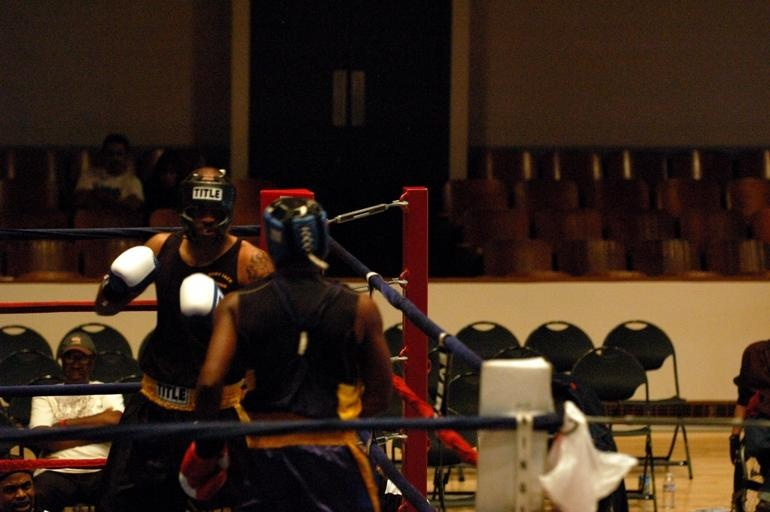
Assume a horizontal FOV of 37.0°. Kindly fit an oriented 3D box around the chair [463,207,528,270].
[{"bbox_3d":[1.121,-0.167,12.057,0.660,0.636,0.637,0,-4,0],"label":"chair"}]

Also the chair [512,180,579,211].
[{"bbox_3d":[1.681,-0.642,12.330,0.605,0.318,0.418,-1,3,1],"label":"chair"}]

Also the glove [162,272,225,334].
[{"bbox_3d":[-1.176,0.299,7.262,0.269,0.354,0.337,-3,-16,7],"label":"glove"}]

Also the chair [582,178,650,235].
[{"bbox_3d":[2.438,-0.504,12.329,0.623,0.603,0.593,2,-2,-1],"label":"chair"}]

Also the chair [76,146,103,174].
[{"bbox_3d":[-2.988,-0.987,11.728,0.260,0.462,0.254,0,3,-5],"label":"chair"}]

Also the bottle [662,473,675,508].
[{"bbox_3d":[2.390,1.999,9.755,0.097,0.208,0.203,1,1,13],"label":"bottle"}]

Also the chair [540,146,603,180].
[{"bbox_3d":[1.958,-0.965,12.141,0.629,0.208,0.132,1,1,-13],"label":"chair"}]

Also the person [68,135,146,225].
[{"bbox_3d":[-2.787,-0.520,11.791,0.703,1.441,0.419,3,-13,-18],"label":"person"}]

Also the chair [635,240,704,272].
[{"bbox_3d":[2.858,0.018,11.810,0.671,0.249,0.196,1,1,13],"label":"chair"}]

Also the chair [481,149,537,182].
[{"bbox_3d":[1.315,-0.956,12.310,0.592,0.316,0.409,2,-6,4],"label":"chair"}]

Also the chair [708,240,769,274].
[{"bbox_3d":[3.579,0.017,11.788,0.605,0.256,0.146,1,1,14],"label":"chair"}]

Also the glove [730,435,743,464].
[{"bbox_3d":[2.825,1.588,9.343,0.155,0.207,0.075,-5,-3,34],"label":"glove"}]

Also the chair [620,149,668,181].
[{"bbox_3d":[2.724,-0.953,12.151,0.564,0.389,0.300,0,-4,-1],"label":"chair"}]

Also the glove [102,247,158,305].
[{"bbox_3d":[-1.644,0.143,7.475,0.283,0.384,0.163,33,24,-28],"label":"glove"}]

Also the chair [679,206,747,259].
[{"bbox_3d":[3.395,-0.232,11.998,0.516,0.321,0.499,4,-7,-38],"label":"chair"}]

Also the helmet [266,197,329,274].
[{"bbox_3d":[-0.540,-0.129,6.983,0.352,0.426,0.445,-1,-9,-9],"label":"helmet"}]

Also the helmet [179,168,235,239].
[{"bbox_3d":[-1.174,-0.357,7.593,0.391,0.487,0.482,3,7,-7],"label":"helmet"}]

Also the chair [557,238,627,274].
[{"bbox_3d":[2.105,0.015,11.834,0.532,0.249,0.374,-1,-1,9],"label":"chair"}]

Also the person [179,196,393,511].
[{"bbox_3d":[-0.565,0.608,7.050,1.182,1.925,0.367,1,1,-10],"label":"person"}]
